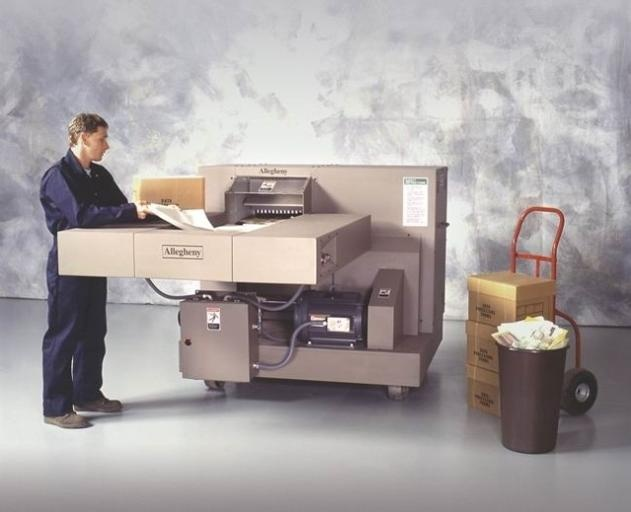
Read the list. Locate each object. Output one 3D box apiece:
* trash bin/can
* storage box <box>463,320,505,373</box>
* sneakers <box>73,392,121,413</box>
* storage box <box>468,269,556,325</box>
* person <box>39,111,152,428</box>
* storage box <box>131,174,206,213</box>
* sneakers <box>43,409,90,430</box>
[{"bbox_3d":[1.233,0.799,3.697,0.387,0.587,0.401,0,-7,-10],"label":"trash bin/can"},{"bbox_3d":[1.173,0.587,4.259,0.233,0.331,0.323,9,16,36],"label":"storage box"},{"bbox_3d":[-1.437,0.980,4.206,0.277,0.132,0.135,-1,3,-9],"label":"sneakers"},{"bbox_3d":[1.264,0.312,4.207,0.545,0.276,0.577,1,3,-3],"label":"storage box"},{"bbox_3d":[-1.429,0.102,3.952,0.617,1.932,0.710,-5,11,-25],"label":"person"},{"bbox_3d":[-0.988,-0.439,4.152,0.465,0.241,0.271,-1,26,-21],"label":"storage box"},{"bbox_3d":[-1.568,1.032,4.004,0.221,0.081,0.131,0,5,10],"label":"sneakers"}]
